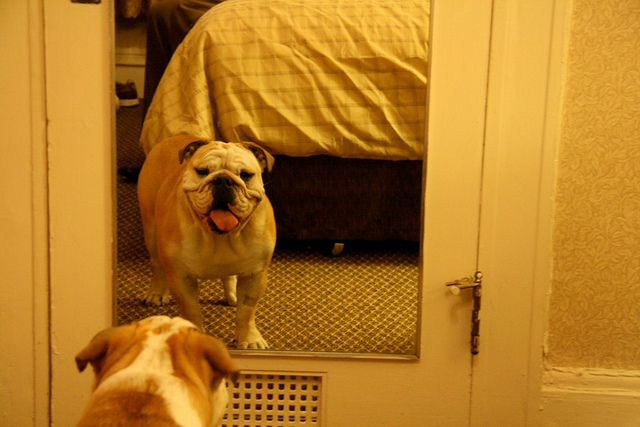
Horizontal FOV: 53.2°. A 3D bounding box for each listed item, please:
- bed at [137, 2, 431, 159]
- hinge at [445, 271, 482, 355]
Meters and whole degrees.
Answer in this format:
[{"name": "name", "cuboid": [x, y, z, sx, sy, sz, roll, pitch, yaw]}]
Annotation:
[{"name": "bed", "cuboid": [-0.097, -0.411, 2.092, 0.723, 0.526, 0.197, 4, -20, -2]}, {"name": "hinge", "cuboid": [0.499, 0.343, 2.167, 0.078, 0.284, 0.117, 12, -12, -42]}]
